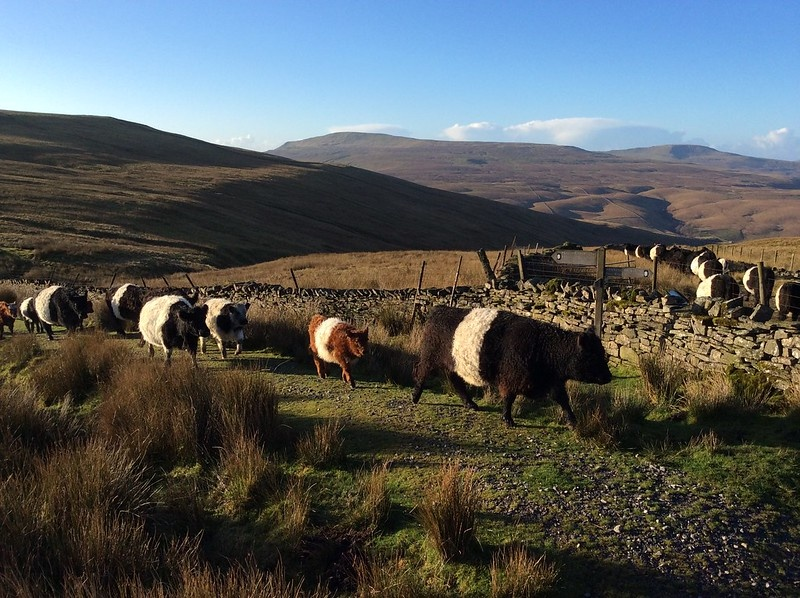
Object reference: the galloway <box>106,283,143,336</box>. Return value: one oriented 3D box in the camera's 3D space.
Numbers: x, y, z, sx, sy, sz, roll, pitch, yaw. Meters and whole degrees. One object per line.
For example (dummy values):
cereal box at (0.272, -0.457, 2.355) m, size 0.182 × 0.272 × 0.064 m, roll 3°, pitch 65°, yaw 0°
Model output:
galloway at (-7.607, 0.395, 17.187) m, size 0.755 × 1.333 × 2.283 m, roll 3°, pitch -20°, yaw -34°

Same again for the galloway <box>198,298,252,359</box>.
galloway at (-4.045, 0.717, 14.482) m, size 0.696 × 1.203 × 2.265 m, roll 1°, pitch -2°, yaw -38°

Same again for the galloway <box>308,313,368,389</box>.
galloway at (-1.293, 1.061, 12.605) m, size 0.584 × 1.268 × 1.862 m, roll -9°, pitch 14°, yaw -41°

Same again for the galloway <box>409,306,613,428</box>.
galloway at (1.800, 1.190, 10.520) m, size 3.440 × 1.925 × 1.152 m, roll 6°, pitch 11°, yaw 27°

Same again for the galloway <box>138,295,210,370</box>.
galloway at (-5.041, 0.717, 14.007) m, size 2.545 × 1.389 × 0.998 m, roll 4°, pitch 8°, yaw 44°
